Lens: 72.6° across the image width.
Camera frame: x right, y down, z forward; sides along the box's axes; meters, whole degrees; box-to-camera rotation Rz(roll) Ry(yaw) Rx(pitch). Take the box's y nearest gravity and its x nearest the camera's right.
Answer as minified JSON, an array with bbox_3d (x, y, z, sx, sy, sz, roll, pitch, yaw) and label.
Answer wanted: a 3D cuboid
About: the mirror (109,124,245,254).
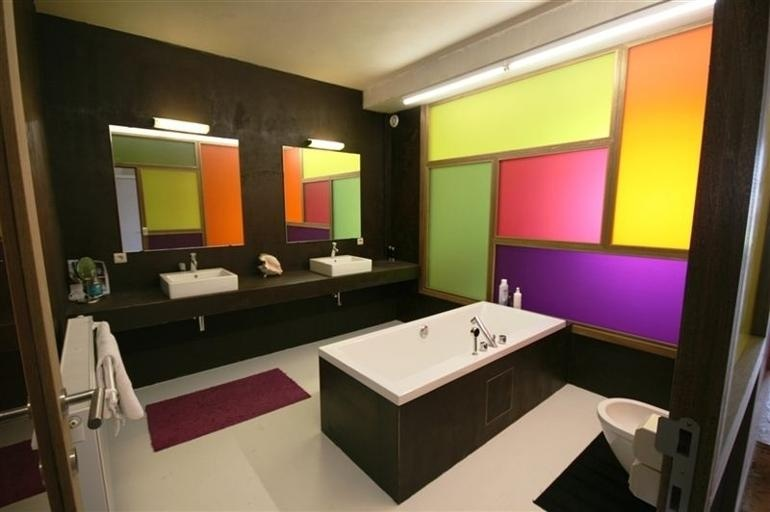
[{"bbox_3d":[-1.870,-0.534,4.742,1.087,1.074,0.050,-4,13,-27],"label":"mirror"}]

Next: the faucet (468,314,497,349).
[{"bbox_3d":[0.818,0.592,4.158,0.202,0.245,0.151,3,10,33],"label":"faucet"}]

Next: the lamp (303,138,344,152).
[{"bbox_3d":[-0.630,-1.192,5.584,0.112,0.129,0.485,5,11,42],"label":"lamp"}]

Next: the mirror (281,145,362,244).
[{"bbox_3d":[-0.715,-0.682,5.589,1.084,1.112,0.085,-4,7,-40],"label":"mirror"}]

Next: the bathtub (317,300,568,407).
[{"bbox_3d":[0.513,0.776,4.268,1.896,0.453,0.876,-8,10,-38],"label":"bathtub"}]

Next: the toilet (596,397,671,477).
[{"bbox_3d":[1.989,1.315,3.850,0.629,0.457,0.377,29,-15,-24],"label":"toilet"}]

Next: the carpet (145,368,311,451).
[{"bbox_3d":[-1.346,1.261,4.448,1.274,0.209,0.648,-7,9,-32],"label":"carpet"}]

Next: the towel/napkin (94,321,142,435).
[{"bbox_3d":[-1.876,0.654,3.517,0.314,0.314,1.156,0,25,-32],"label":"towel/napkin"}]

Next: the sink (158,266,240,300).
[{"bbox_3d":[-1.655,0.222,4.667,0.606,0.180,0.501,-7,9,-31],"label":"sink"}]

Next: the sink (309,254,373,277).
[{"bbox_3d":[-0.482,0.086,5.545,0.593,0.155,0.600,-6,8,-25],"label":"sink"}]
